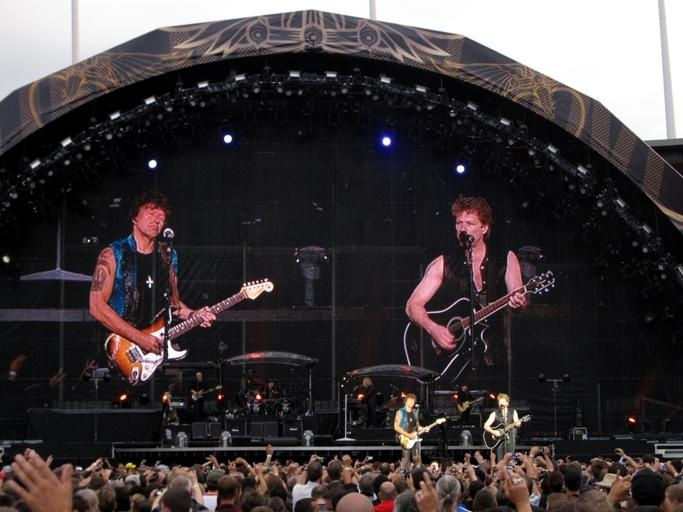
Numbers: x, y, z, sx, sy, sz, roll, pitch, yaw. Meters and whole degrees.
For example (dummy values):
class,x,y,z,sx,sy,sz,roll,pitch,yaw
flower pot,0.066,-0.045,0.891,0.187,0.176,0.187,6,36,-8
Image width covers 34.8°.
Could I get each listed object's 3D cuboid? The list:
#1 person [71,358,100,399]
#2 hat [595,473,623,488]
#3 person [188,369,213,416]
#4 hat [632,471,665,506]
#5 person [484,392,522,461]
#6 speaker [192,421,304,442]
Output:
class,x,y,z,sx,sy,sz,roll,pitch,yaw
person,-7.773,3.808,33.442,0.681,1.107,0.332,0,0,1
hat,4.839,4.090,19.733,0.466,0.189,0.500,-5,3,-1
person,-4.306,4.240,33.194,0.557,1.484,0.447,3,-18,-7
hat,4.789,3.654,16.994,0.487,0.660,0.348,-6,-4,9
person,4.001,4.110,27.716,1.192,0.325,2.516,11,28,8
speaker,-2.651,4.888,30.226,3.017,0.737,1.643,0,-17,3
